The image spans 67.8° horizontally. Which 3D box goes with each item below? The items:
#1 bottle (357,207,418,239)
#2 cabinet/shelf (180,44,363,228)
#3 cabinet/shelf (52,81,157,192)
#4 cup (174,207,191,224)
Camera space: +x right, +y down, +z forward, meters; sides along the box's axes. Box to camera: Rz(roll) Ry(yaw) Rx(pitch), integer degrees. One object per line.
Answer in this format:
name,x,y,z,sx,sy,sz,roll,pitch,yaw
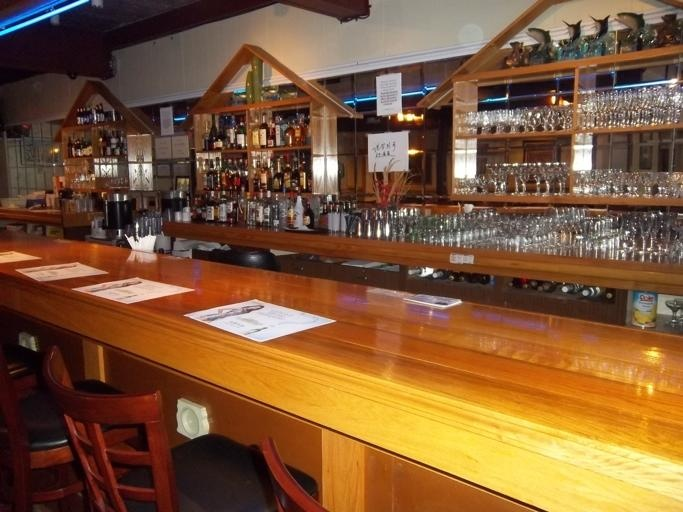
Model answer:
bottle,0.342,-0.261,4.096,0.335,0.143,0.336,0,6,0
cabinet/shelf,-0.662,-1.224,5.291,2.199,1.939,0.572,2,6,27
cabinet/shelf,-3.352,-1.699,7.302,1.826,1.549,0.464,2,5,20
cup,-1.756,-0.434,5.539,0.227,0.226,0.126,4,6,32
